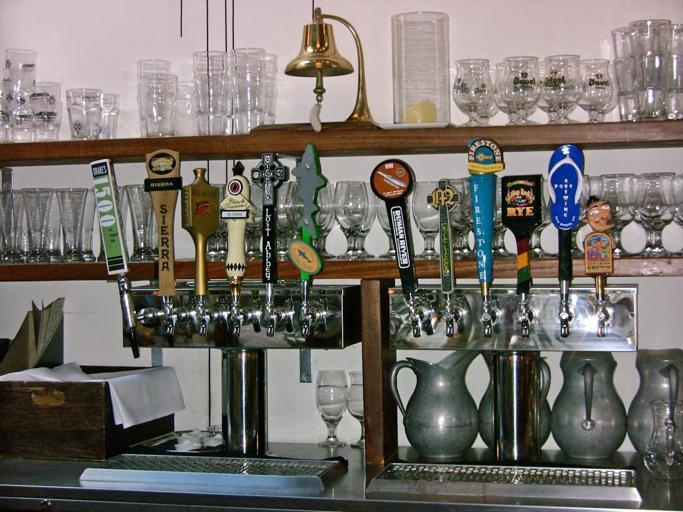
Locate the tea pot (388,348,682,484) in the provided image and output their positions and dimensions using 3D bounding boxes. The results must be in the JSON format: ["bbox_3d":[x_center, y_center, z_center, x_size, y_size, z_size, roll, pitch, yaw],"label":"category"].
[{"bbox_3d":[0.483,0.435,2.704,0.633,0.330,0.300,-1,4,24],"label":"tea pot"}]
